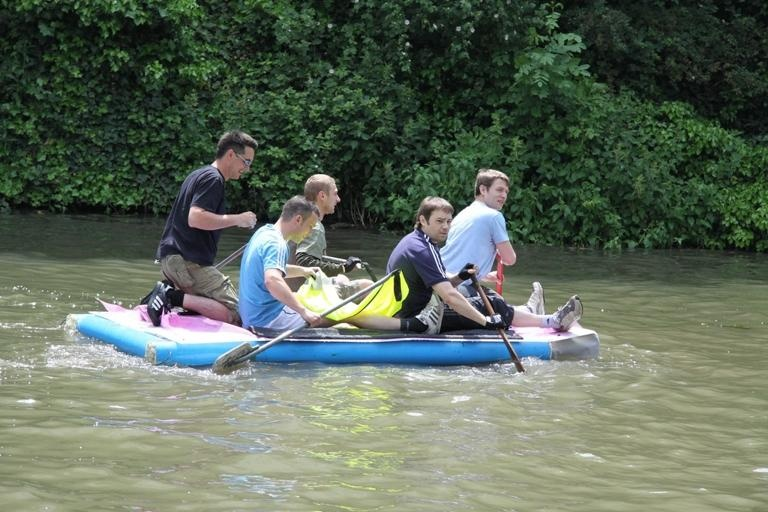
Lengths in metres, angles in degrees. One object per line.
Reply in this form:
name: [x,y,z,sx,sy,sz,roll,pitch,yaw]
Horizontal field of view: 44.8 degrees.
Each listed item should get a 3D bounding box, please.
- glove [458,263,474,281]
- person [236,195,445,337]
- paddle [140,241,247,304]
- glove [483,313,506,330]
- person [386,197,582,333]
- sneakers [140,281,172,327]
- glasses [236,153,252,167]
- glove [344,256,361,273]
glove: [0.929,0.167,10.422,0.090,0.099,0.183,-41,0,-34]
person: [-0.501,0.139,10.863,2.854,1.476,1.153,7,14,-40]
paddle: [-2.241,0.206,10.956,1.646,0.216,0.085,-26,24,-4]
glove: [1.223,0.700,10.189,0.172,0.091,0.211,7,8,25]
person: [1.136,0.194,10.698,2.350,1.340,1.044,5,4,-12]
sneakers: [-2.415,0.519,10.079,0.259,0.206,0.581,-27,-25,-14]
glasses: [-1.542,-1.043,10.321,0.122,0.039,0.118,43,18,30]
glove: [-0.398,0.078,11.121,0.194,0.088,0.165,-24,-26,11]
